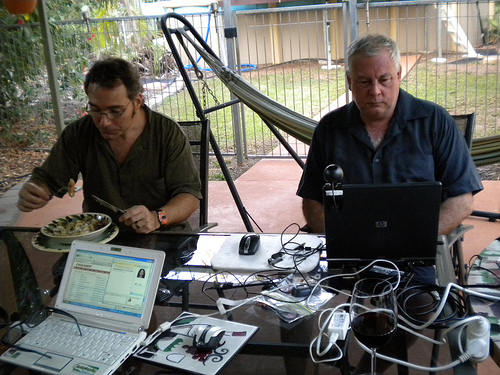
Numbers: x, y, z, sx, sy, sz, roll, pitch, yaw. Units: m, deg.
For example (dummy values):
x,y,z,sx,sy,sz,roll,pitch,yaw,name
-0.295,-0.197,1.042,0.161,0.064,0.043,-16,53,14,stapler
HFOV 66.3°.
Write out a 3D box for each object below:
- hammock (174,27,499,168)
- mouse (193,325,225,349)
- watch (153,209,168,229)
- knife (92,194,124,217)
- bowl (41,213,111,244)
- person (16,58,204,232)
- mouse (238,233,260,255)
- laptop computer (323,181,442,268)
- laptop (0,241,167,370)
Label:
x,y,z,sx,sy,sz,roll,pitch,yaw,name
0.688,-0.735,3.043,2.343,1.242,0.543,-3,18,9,hammock
-0.128,0.450,1.160,0.066,0.050,0.091,3,19,29,mouse
-0.448,0.156,1.952,0.089,0.094,0.065,-20,-22,33,watch
-0.770,0.098,2.091,0.276,0.068,0.023,21,22,25,knife
-0.778,0.185,1.733,0.256,0.055,0.347,-20,21,-40,bowl
-0.783,-0.255,2.140,0.862,0.881,0.554,3,20,29,person
-0.003,0.239,1.624,0.082,0.054,0.117,-3,16,12,mouse
0.508,0.128,1.550,0.424,0.345,0.298,-1,13,11,laptop computer
-0.475,0.408,1.255,0.390,0.233,0.378,-4,21,28,laptop
